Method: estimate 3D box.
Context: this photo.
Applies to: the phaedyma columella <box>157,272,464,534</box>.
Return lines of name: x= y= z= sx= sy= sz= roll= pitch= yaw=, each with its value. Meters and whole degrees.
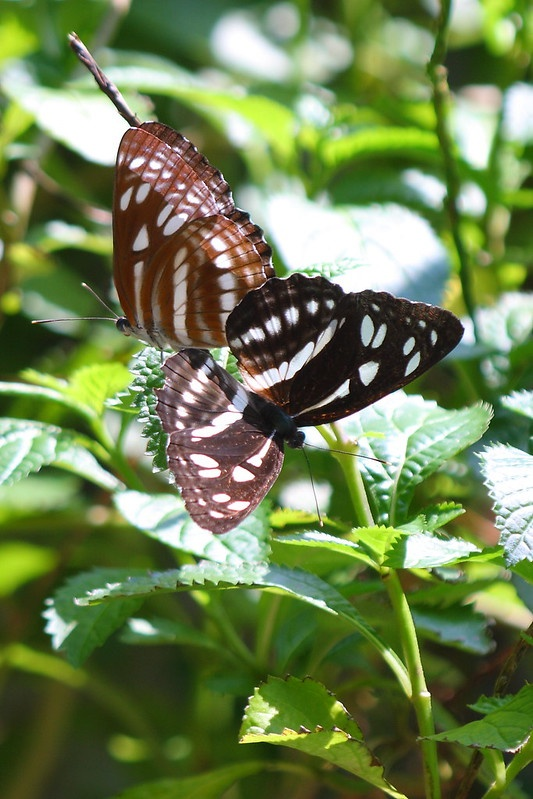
phaedyma columella: x=-0.012 y=-0.033 z=0.856 sx=0.108 sy=0.393 sz=0.204 roll=-6 pitch=60 yaw=-48
